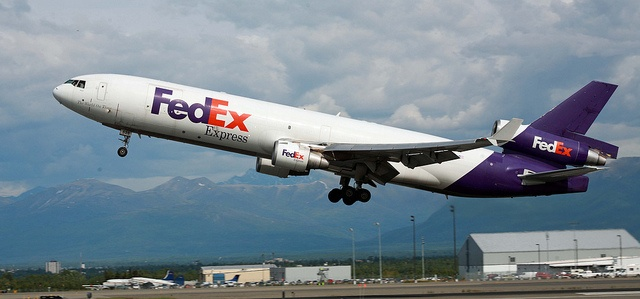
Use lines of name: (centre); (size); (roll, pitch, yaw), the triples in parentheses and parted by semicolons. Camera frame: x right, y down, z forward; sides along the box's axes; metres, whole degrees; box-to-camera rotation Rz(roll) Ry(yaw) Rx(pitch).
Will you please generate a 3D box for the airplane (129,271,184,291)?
airplane: (-161.528, 130.780, 825.863); (52.619, 13.855, 16.549); (-2, 5, -5)
